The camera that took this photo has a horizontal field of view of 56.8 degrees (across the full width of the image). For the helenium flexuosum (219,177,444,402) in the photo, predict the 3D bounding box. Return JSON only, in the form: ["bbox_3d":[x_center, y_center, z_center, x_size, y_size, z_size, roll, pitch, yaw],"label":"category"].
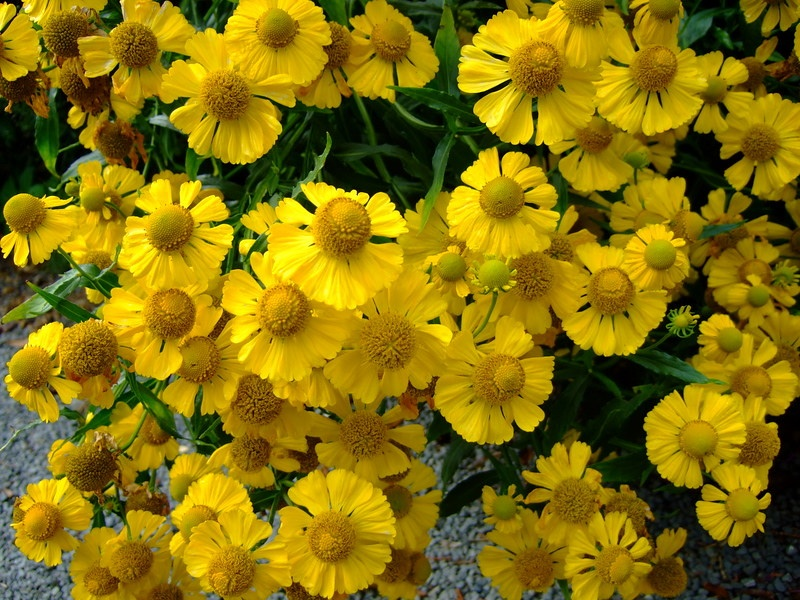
[{"bbox_3d":[-0.151,0.000,1.804,0.528,0.388,0.502,-2,74,-5],"label":"helenium flexuosum"}]

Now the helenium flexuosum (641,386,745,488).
[{"bbox_3d":[0.771,0.352,1.903,0.249,0.076,0.269,-28,45,14],"label":"helenium flexuosum"}]

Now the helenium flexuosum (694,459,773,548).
[{"bbox_3d":[0.902,0.548,1.972,0.191,0.068,0.214,-7,23,-4],"label":"helenium flexuosum"}]
